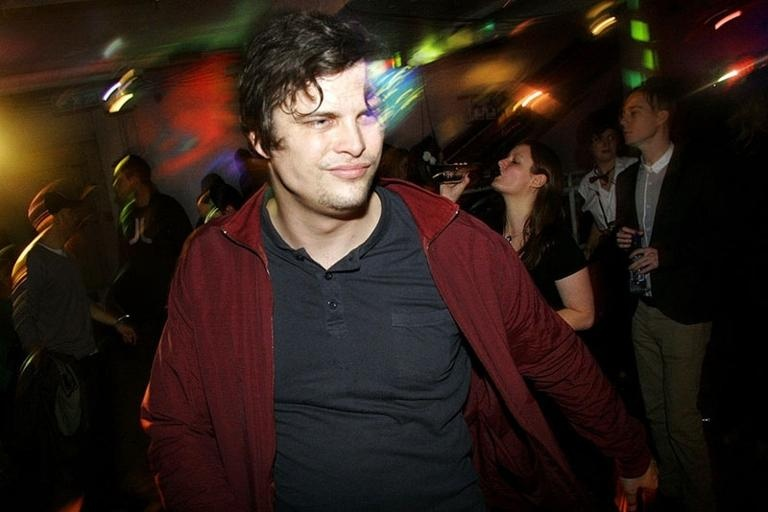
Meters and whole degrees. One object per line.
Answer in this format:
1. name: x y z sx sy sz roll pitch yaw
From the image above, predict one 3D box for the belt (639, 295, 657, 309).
1. belt: 2.359 0.401 4.808 0.116 0.029 0.077 -27 67 -1
